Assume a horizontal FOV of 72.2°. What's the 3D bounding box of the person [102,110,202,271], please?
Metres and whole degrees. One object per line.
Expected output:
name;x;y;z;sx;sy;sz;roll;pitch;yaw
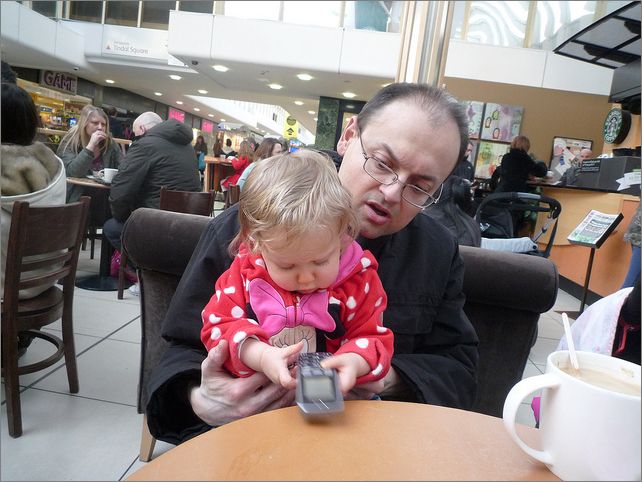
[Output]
person;-1.558;-0.328;4.369;0.752;1.639;1.005;-9;-5;22

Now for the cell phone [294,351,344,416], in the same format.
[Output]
cell phone;-0.009;0.315;0.959;0.095;0.054;0.231;1;13;-4
